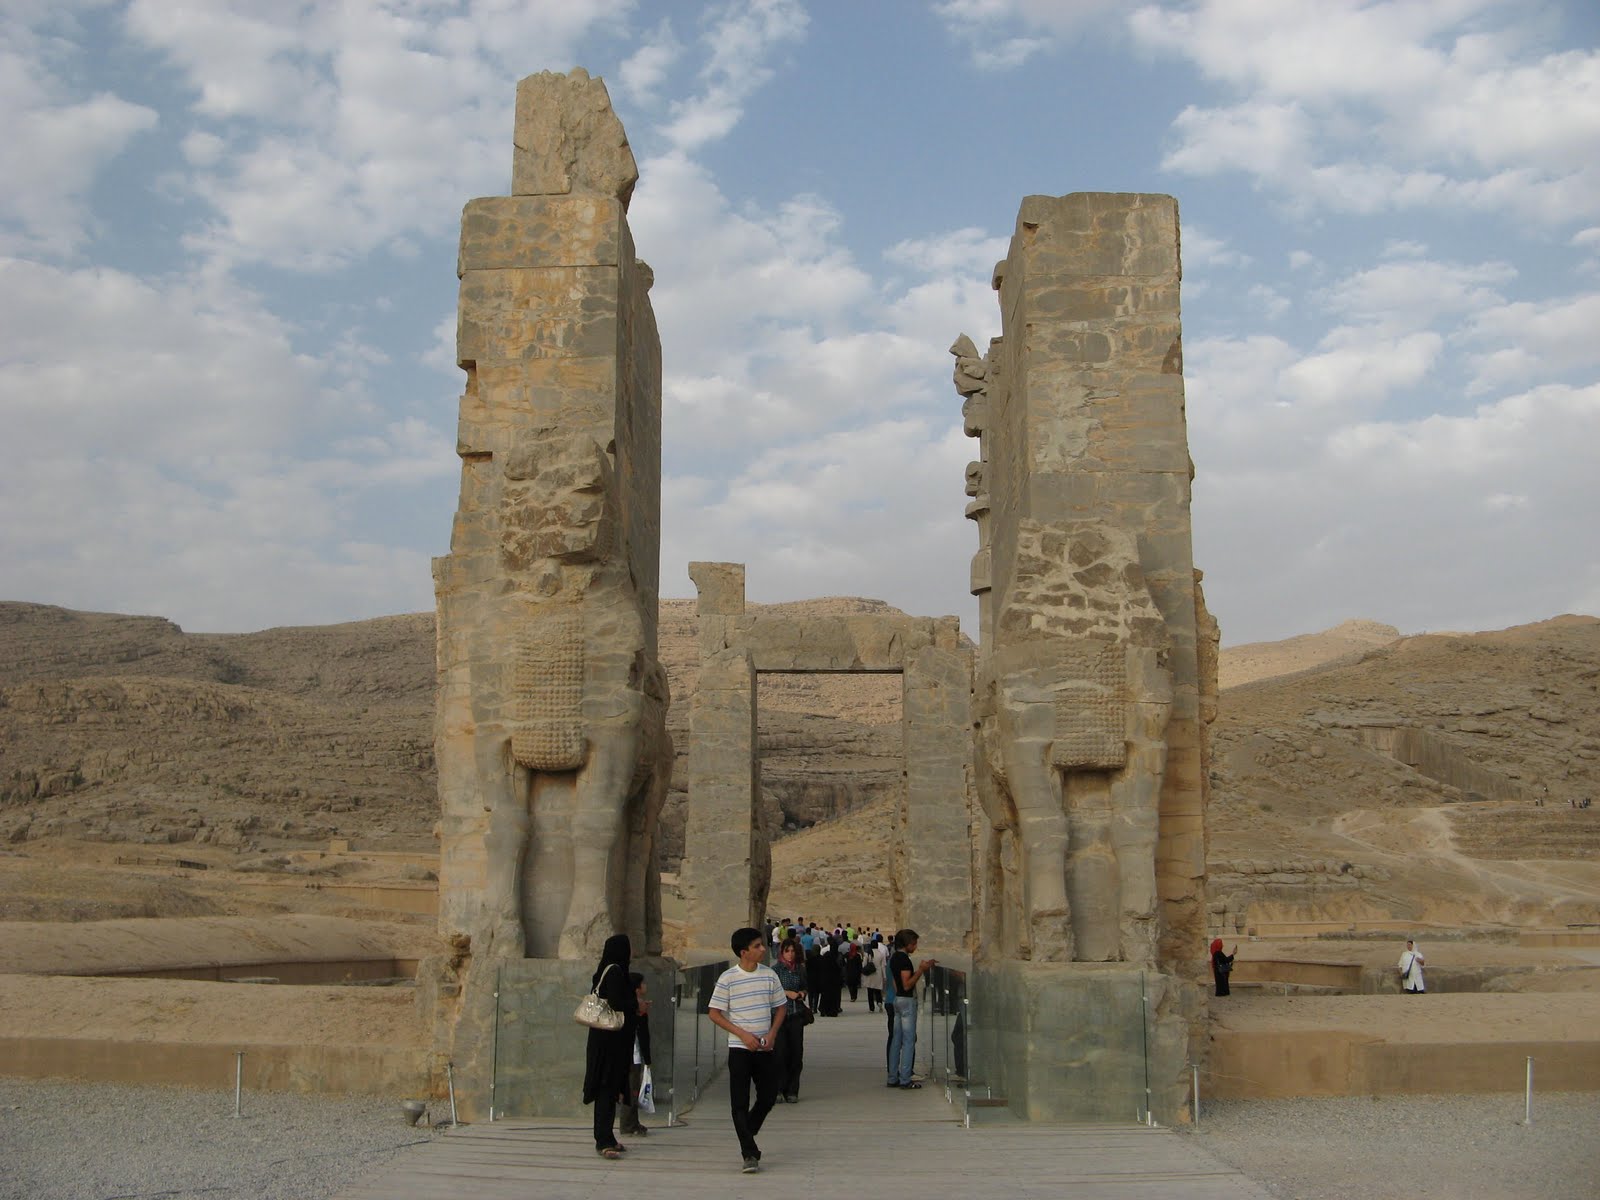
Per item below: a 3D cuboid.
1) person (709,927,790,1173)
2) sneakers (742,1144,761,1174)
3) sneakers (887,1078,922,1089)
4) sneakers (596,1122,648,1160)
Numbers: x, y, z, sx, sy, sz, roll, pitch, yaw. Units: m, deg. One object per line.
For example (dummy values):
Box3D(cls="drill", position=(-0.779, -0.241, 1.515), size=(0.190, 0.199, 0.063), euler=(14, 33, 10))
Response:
Box3D(cls="person", position=(-0.405, 3.450, 16.419), size=(0.557, 1.798, 1.109), euler=(2, 0, -1))
Box3D(cls="sneakers", position=(-0.356, 4.261, 15.910), size=(0.095, 0.174, 0.264), euler=(1, -3, 3))
Box3D(cls="sneakers", position=(0.995, 4.432, 19.084), size=(0.318, 0.117, 0.099), euler=(0, 0, -11))
Box3D(cls="sneakers", position=(-1.438, 4.176, 16.244), size=(0.286, 0.302, 0.257), euler=(2, -1, -21))
